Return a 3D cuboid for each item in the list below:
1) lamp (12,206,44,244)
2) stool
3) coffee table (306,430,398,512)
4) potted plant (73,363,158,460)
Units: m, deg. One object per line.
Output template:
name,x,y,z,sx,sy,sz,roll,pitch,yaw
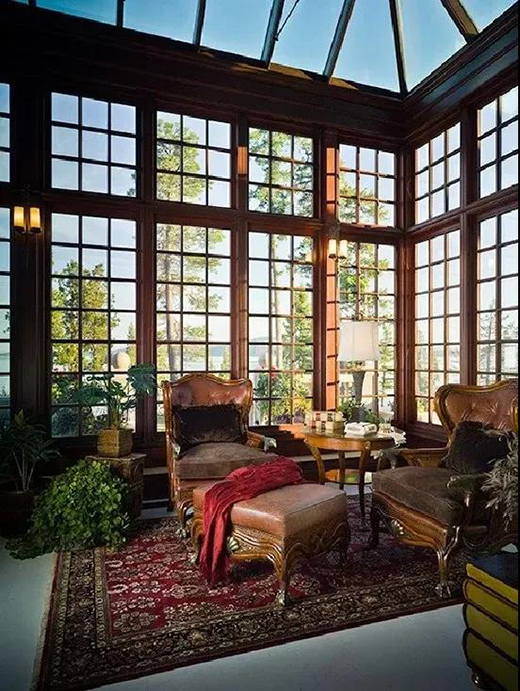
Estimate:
lamp,-1.801,-0.980,4.197,0.226,0.265,0.283,0,-1,-23
stool,0.172,0.923,2.828,0.528,0.348,0.669,6,-10,-43
coffee table,0.678,0.827,3.989,0.621,0.531,0.614,1,-5,-27
potted plant,-1.135,0.461,4.176,0.674,0.758,0.689,1,-1,33
